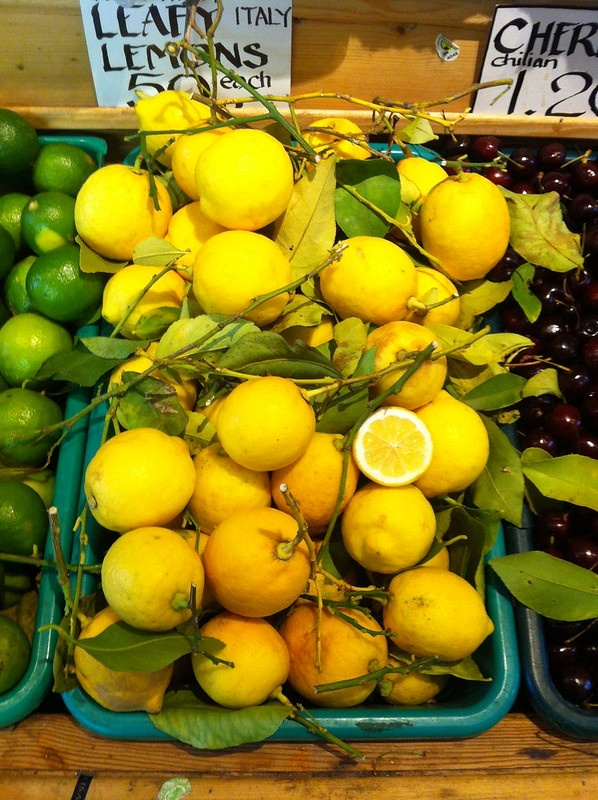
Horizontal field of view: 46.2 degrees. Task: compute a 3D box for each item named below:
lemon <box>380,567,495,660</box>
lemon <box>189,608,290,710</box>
[{"bbox_3d":[0.140,0.221,0.728,0.116,0.078,0.084,-1,30,10],"label":"lemon"},{"bbox_3d":[-0.056,0.264,0.715,0.095,0.084,0.095,-9,90,0],"label":"lemon"}]
